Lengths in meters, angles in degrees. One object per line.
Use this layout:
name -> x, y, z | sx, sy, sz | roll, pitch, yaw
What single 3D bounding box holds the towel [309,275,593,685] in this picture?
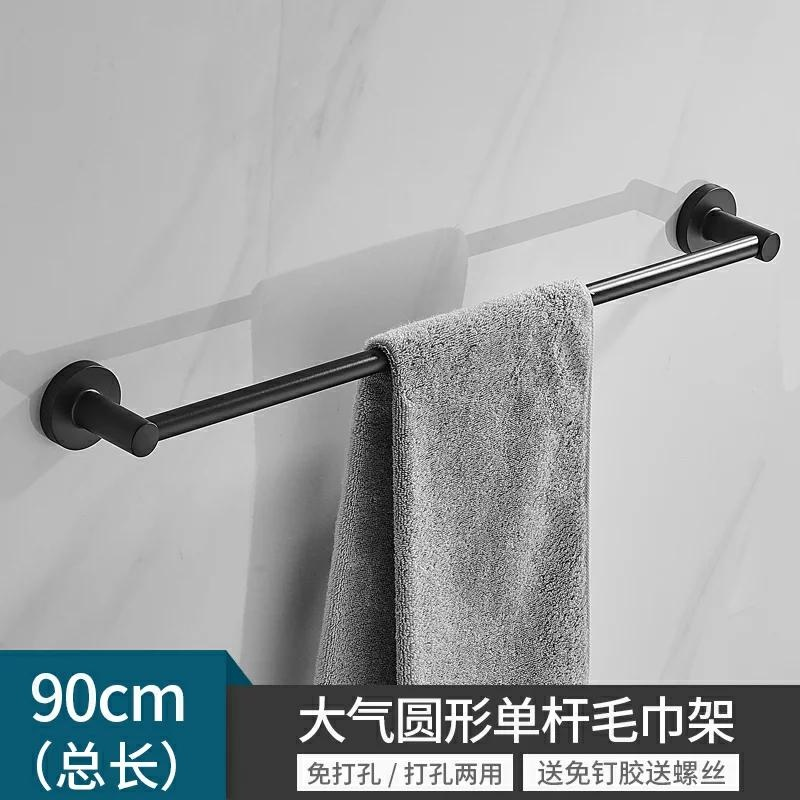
towel -> 0.030, 0.050, 0.785 | 0.108, 0.317, 0.208 | 25, 28, 37
